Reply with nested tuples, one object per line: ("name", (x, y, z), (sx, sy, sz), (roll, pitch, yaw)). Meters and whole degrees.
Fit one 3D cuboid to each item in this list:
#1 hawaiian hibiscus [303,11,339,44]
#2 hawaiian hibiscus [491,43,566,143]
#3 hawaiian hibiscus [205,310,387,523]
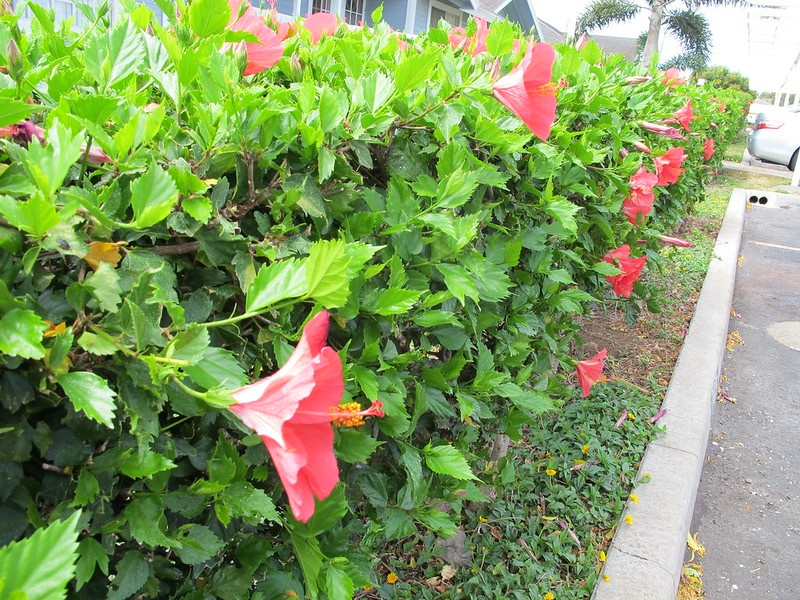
("hawaiian hibiscus", (-0.325, -1.110, 2.194), (0.140, 0.128, 0.107), (3, 18, -21))
("hawaiian hibiscus", (0.376, -0.621, 1.577), (0.218, 0.260, 0.149), (7, 17, -12))
("hawaiian hibiscus", (-0.140, 0.170, 0.843), (0.209, 0.275, 0.186), (24, 22, 39))
